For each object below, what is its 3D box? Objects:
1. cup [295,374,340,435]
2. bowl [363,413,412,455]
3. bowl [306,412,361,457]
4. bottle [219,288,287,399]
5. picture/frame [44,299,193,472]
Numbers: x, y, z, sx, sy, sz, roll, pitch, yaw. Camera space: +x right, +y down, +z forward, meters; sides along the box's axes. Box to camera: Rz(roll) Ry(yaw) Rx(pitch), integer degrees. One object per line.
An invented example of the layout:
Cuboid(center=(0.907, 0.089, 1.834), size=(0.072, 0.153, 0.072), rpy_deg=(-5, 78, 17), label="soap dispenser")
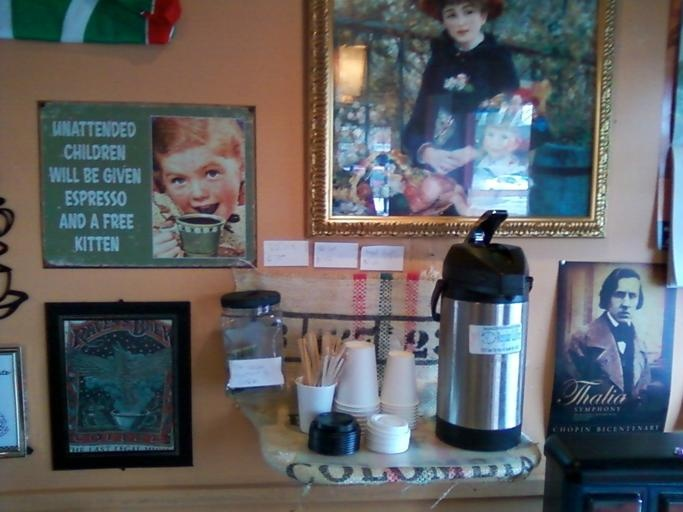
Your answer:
Cuboid(center=(-0.097, 0.493, 2.486), size=(0.165, 0.160, 0.155), rpy_deg=(1, 4, 0), label="cup")
Cuboid(center=(0.157, 0.581, 2.442), size=(0.128, 0.106, 0.117), rpy_deg=(-1, 5, 0), label="bowl")
Cuboid(center=(-0.026, 0.568, 2.380), size=(0.133, 0.072, 0.129), rpy_deg=(2, 1, 0), label="bowl")
Cuboid(center=(-0.315, 0.295, 2.680), size=(0.230, 0.332, 0.243), rpy_deg=(-1, 5, 0), label="bottle")
Cuboid(center=(-0.847, 0.452, 2.775), size=(0.687, 0.802, 0.063), rpy_deg=(-1, 6, -1), label="picture/frame")
